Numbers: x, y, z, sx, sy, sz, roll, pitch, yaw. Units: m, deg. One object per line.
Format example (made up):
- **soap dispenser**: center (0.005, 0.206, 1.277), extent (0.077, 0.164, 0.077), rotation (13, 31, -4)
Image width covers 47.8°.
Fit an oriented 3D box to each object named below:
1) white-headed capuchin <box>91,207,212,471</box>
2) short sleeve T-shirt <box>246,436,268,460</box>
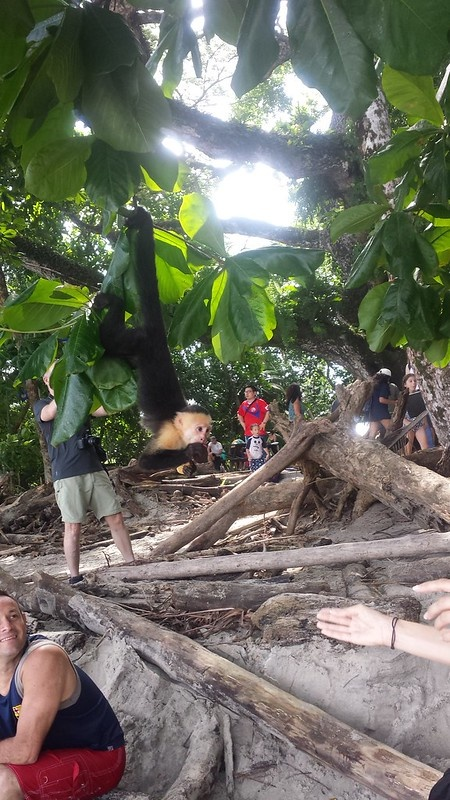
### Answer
- **white-headed capuchin**: center (-0.345, -0.216, 1.915), extent (0.418, 1.071, 0.308), rotation (-10, -14, -9)
- **short sleeve T-shirt**: center (0.531, 0.845, 8.996), extent (0.300, 0.464, 0.398), rotation (-23, 12, -42)
